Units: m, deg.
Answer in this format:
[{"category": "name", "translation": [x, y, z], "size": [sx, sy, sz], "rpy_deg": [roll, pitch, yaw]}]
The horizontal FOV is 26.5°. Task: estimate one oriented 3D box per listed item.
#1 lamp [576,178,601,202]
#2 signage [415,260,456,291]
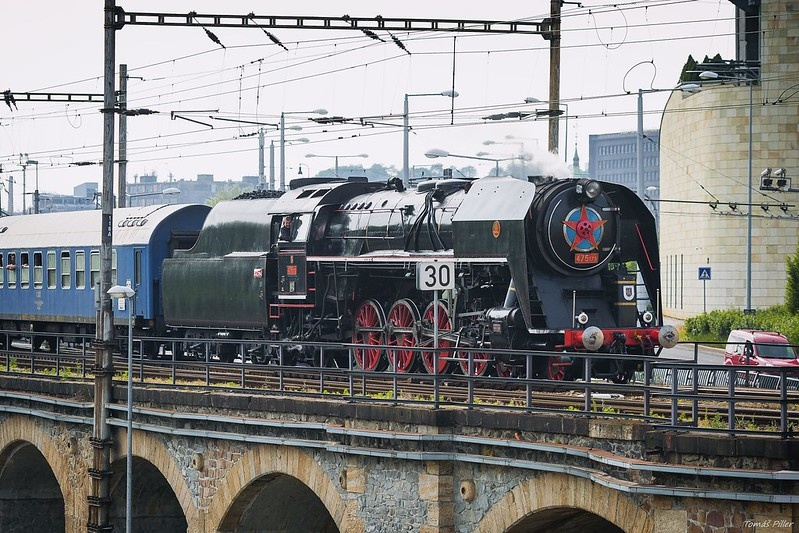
[{"category": "lamp", "translation": [5.808, -2.368, 51.497], "size": [0.595, 0.670, 0.630], "rpy_deg": [-5, 3, -15]}, {"category": "signage", "translation": [1.030, 0.214, 47.508], "size": [0.859, 0.637, 0.118], "rpy_deg": [2, -4, -29]}]
